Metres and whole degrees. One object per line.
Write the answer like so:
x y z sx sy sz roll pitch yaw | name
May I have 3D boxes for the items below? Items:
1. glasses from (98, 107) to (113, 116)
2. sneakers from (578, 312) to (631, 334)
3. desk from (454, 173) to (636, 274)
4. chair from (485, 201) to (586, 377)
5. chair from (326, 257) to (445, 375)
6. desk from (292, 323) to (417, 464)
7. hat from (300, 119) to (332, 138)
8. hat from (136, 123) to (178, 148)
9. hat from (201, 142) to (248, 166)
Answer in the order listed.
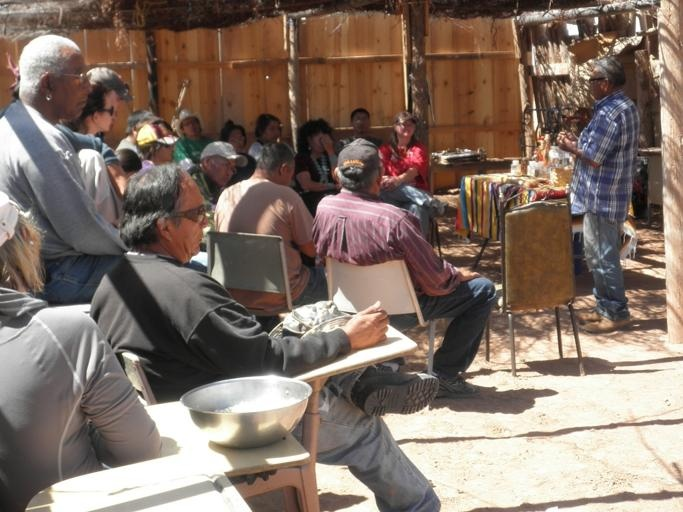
-1.608 -0.987 4.491 0.055 0.068 0.018 2 0 -25 | glasses
2.514 0.629 6.345 0.367 0.191 0.232 -7 4 14 | sneakers
1.780 -0.579 7.135 1.280 0.828 1.386 -3 18 -19 | desk
1.686 0.186 5.669 0.697 1.608 0.904 -7 15 4 | chair
0.297 0.316 4.627 0.429 0.920 0.592 0 12 16 | chair
0.072 0.506 2.914 0.476 0.490 0.583 -15 24 -25 | desk
-0.302 -1.559 8.095 0.225 0.148 0.288 -2 3 2 | hat
-1.523 -1.004 5.517 0.276 0.168 0.173 -12 15 -37 | hat
-1.093 -0.972 6.154 0.359 0.206 0.267 5 1 3 | hat
